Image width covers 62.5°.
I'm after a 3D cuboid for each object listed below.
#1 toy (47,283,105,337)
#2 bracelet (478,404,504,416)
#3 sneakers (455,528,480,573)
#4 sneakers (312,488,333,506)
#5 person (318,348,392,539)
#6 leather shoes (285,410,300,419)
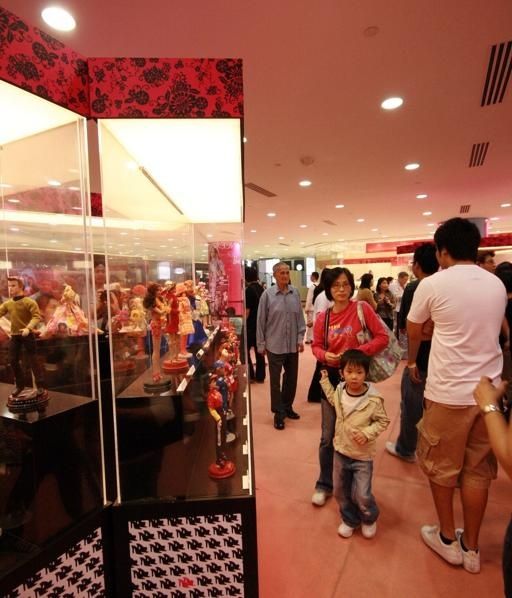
[{"bbox_3d":[-0.681,0.036,1.660,0.192,0.179,0.175,2,9,-4],"label":"toy"},{"bbox_3d":[0.704,0.335,1.293,0.052,0.033,0.050,-4,-26,37],"label":"bracelet"},{"bbox_3d":[0.948,1.137,1.913,0.062,0.074,0.179,-4,13,15],"label":"sneakers"},{"bbox_3d":[0.347,1.099,2.329,0.052,0.046,0.114,-3,-12,18],"label":"sneakers"},{"bbox_3d":[0.488,0.782,2.148,0.278,0.731,0.354,-1,12,2],"label":"person"},{"bbox_3d":[0.306,0.980,3.563,0.051,0.048,0.124,0,-6,-29],"label":"leather shoes"}]
